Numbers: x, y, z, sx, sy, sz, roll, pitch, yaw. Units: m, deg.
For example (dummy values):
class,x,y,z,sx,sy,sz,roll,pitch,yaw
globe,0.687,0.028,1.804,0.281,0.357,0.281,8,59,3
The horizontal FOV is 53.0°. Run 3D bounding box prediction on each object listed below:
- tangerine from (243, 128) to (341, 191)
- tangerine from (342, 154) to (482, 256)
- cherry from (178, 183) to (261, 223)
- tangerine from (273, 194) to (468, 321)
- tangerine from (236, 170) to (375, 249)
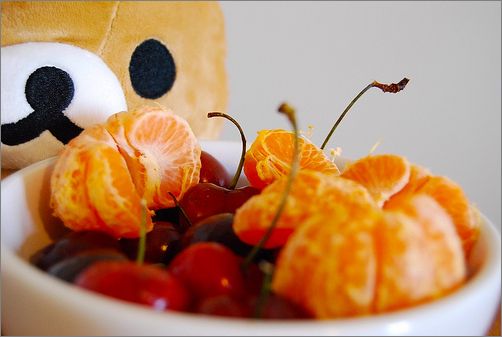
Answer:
class,x,y,z,sx,sy,sz,roll,pitch,yaw
tangerine,0.061,-0.008,0.716,0.111,0.084,0.029,24,-29,7
tangerine,0.183,0.051,0.591,0.122,0.050,0.126,-21,54,-23
cherry,-0.048,0.036,0.659,0.047,0.064,0.069,0,-1,33
tangerine,0.123,0.086,0.507,0.138,0.137,0.053,18,-1,11
tangerine,0.039,0.038,0.583,0.113,0.064,0.195,1,15,-7
